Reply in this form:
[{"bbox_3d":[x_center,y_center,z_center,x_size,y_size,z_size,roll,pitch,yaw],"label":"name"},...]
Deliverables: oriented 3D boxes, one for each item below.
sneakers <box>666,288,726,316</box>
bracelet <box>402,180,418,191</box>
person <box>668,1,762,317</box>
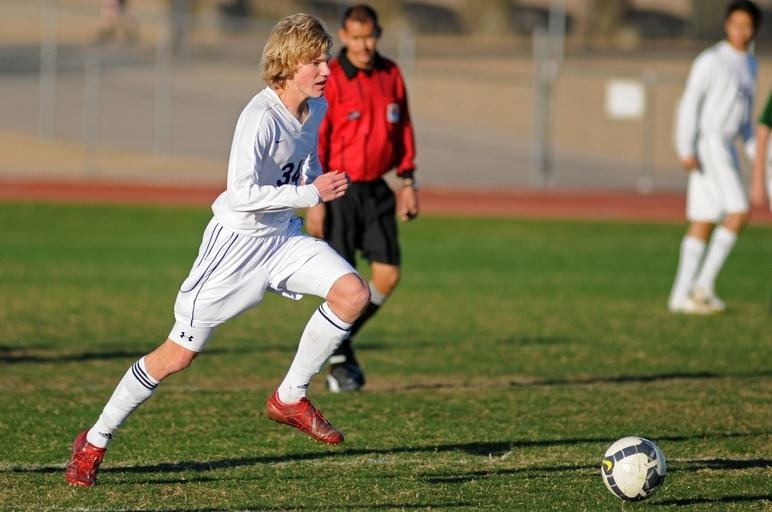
[{"bbox_3d":[3.143,0.463,14.067,0.475,0.179,0.255,-3,6,6],"label":"sneakers"},{"bbox_3d":[0.226,-0.661,13.180,0.102,0.086,0.096,1,-5,0],"label":"bracelet"},{"bbox_3d":[3.245,-0.958,13.905,0.786,3.151,0.448,1,13,-5],"label":"person"}]
